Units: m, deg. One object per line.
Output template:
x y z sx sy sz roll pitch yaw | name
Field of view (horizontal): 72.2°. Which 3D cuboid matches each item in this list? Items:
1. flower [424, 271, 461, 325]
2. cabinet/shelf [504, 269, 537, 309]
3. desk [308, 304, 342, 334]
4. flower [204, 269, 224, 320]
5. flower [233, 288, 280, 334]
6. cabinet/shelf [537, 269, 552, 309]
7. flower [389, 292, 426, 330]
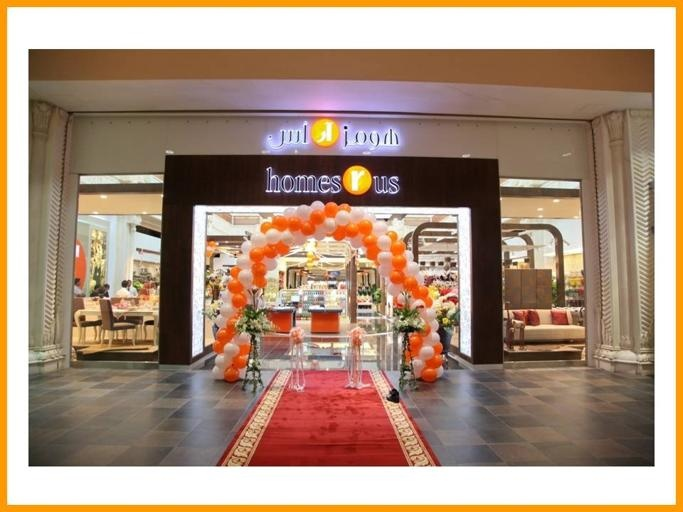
2.123 0.849 9.416 0.826 0.587 1.054 0 2 -3 | flower
4.278 0.817 11.236 0.847 0.925 0.287 0 -1 6 | cabinet/shelf
-0.456 1.741 13.011 0.707 0.581 0.743 2 -4 -1 | desk
-3.475 1.125 13.021 0.461 0.981 0.459 2 -9 -6 | flower
-1.376 0.957 7.251 0.484 0.666 0.502 -15 6 -24 | flower
4.815 0.787 11.213 0.407 0.906 0.108 -1 -1 1 | cabinet/shelf
1.041 0.959 7.396 0.466 0.563 0.518 -2 -10 -3 | flower
